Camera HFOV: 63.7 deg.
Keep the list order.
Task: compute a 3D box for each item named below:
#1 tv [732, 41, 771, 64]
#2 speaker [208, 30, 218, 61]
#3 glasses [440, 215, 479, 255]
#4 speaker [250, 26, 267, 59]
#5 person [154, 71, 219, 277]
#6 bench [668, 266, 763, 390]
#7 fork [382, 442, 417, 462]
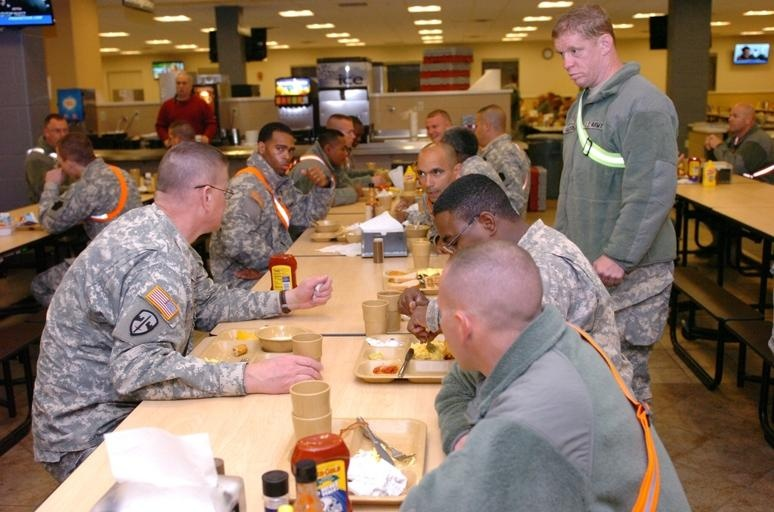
[{"bbox_3d":[10.522,-5.879,18.077,0.789,0.458,0.101,1,10,10],"label":"tv"},{"bbox_3d":[-3.288,-3.986,11.829,0.164,0.567,0.364,-7,18,-18],"label":"speaker"},{"bbox_3d":[0.280,-0.094,2.462,0.132,0.039,0.127,-42,-9,-5],"label":"glasses"},{"bbox_3d":[-2.495,-4.062,11.948,0.312,0.555,0.482,-7,18,-18],"label":"speaker"},{"bbox_3d":[-3.031,-1.692,9.270,0.711,1.972,0.496,-7,32,-27],"label":"person"},{"bbox_3d":[2.353,0.554,4.522,0.213,0.299,0.845,1,15,5],"label":"bench"},{"bbox_3d":[0.042,0.612,1.969,0.077,0.024,0.049,12,9,30],"label":"fork"}]
